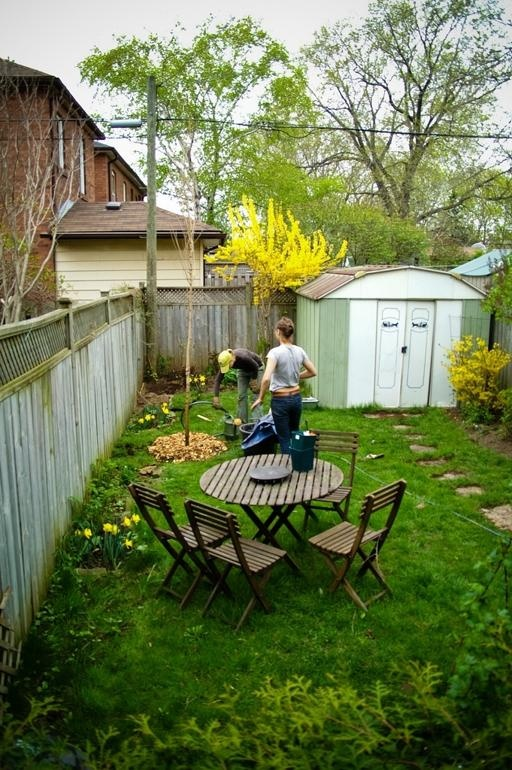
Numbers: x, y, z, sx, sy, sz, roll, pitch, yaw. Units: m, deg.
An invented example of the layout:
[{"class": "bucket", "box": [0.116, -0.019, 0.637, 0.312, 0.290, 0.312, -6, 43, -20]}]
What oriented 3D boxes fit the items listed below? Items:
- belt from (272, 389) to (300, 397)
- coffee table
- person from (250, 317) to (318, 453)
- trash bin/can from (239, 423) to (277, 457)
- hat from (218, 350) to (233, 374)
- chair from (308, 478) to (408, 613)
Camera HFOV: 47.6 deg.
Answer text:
[{"class": "belt", "box": [0.312, 0.068, 5.907, 0.297, 0.113, 0.148, -2, 10, -11]}, {"class": "coffee table", "box": [0.178, 1.043, 4.887, 1.162, 0.650, 1.181, 5, 10, 17]}, {"class": "person", "box": [0.281, 0.017, 5.817, 0.672, 1.358, 0.300, -8, 13, -38]}, {"class": "trash bin/can", "box": [0.052, 0.650, 6.889, 0.415, 0.291, 0.393, 4, 7, 42]}, {"class": "hat", "box": [-0.407, -0.305, 7.945, 0.167, 0.335, 0.424, 0, 10, 1]}, {"class": "chair", "box": [0.752, 1.159, 4.352, 0.545, 0.906, 0.592, 8, 12, 41]}]
